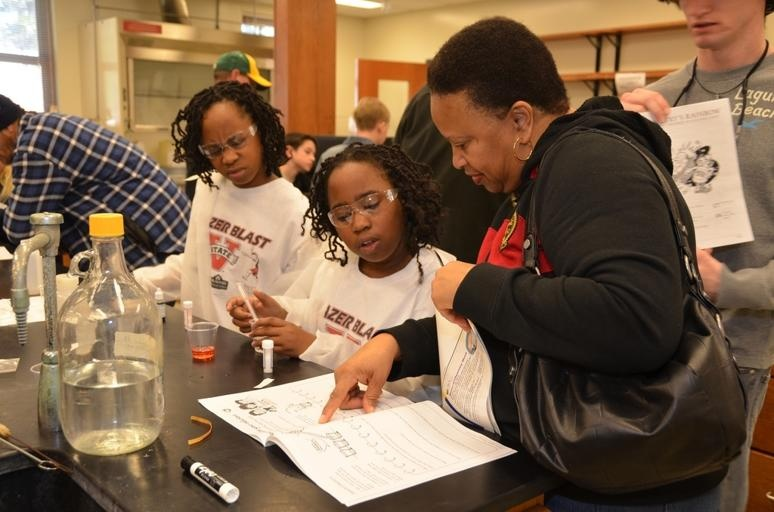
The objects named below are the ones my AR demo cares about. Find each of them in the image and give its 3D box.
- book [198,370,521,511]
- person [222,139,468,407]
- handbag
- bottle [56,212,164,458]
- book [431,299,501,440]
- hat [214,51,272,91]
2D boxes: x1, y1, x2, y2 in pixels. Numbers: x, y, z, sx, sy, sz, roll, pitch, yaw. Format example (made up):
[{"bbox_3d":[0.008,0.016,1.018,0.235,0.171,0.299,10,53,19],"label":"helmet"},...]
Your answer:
[{"bbox_3d":[-0.018,0.367,1.673,0.830,0.132,0.960,-1,7,-23],"label":"book"},{"bbox_3d":[-0.073,0.203,2.170,0.820,1.035,0.576,-2,0,25],"label":"person"},{"bbox_3d":[0.519,0.274,1.313,0.494,0.438,0.280,-19,-5,28],"label":"handbag"},{"bbox_3d":[-0.683,0.195,1.472,0.271,0.557,0.254,3,5,0],"label":"bottle"},{"bbox_3d":[0.195,0.274,1.479,0.041,0.258,0.245,-5,-1,-24],"label":"book"},{"bbox_3d":[-0.798,-1.054,3.431,0.342,0.158,0.193,11,-6,-14],"label":"hat"}]
